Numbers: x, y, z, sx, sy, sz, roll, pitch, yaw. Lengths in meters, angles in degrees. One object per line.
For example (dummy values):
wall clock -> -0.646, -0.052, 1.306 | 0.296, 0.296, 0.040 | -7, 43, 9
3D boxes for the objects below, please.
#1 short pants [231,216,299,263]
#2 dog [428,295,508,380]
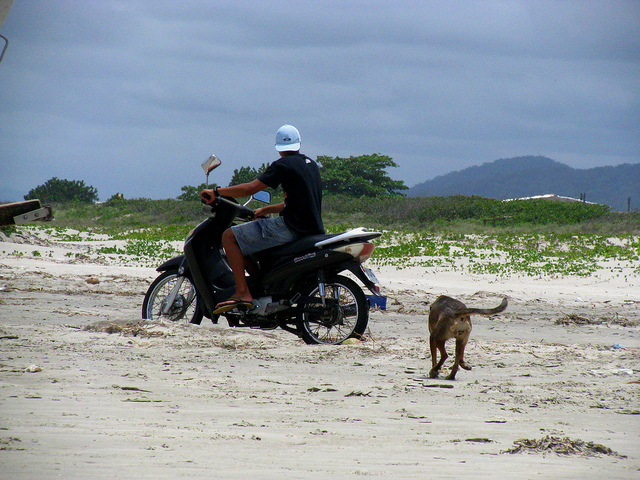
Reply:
short pants -> -0.763, -0.039, 15.873 | 0.914, 0.542, 0.142 | 3, 5, -7
dog -> 1.903, 1.181, 14.645 | 0.894, 1.068, 1.053 | -1, 5, -2
